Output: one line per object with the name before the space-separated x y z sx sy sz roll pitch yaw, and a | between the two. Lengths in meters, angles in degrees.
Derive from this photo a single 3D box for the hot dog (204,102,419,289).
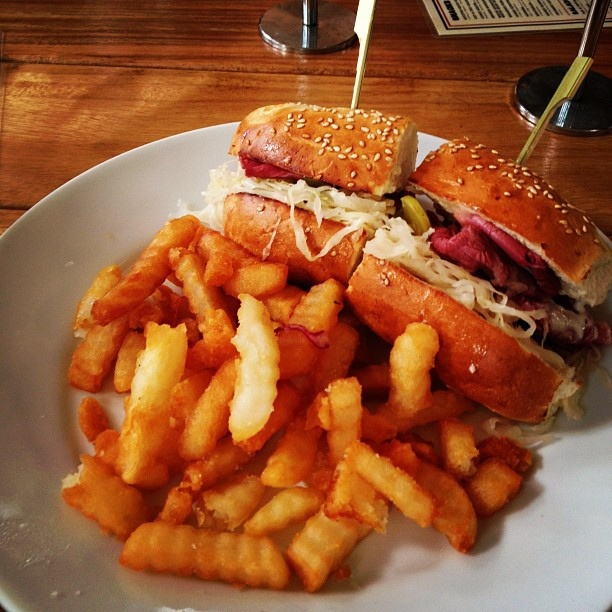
hot dog | 0.206 -0.375 2.204 0.904 0.515 0.705 23 24 39
